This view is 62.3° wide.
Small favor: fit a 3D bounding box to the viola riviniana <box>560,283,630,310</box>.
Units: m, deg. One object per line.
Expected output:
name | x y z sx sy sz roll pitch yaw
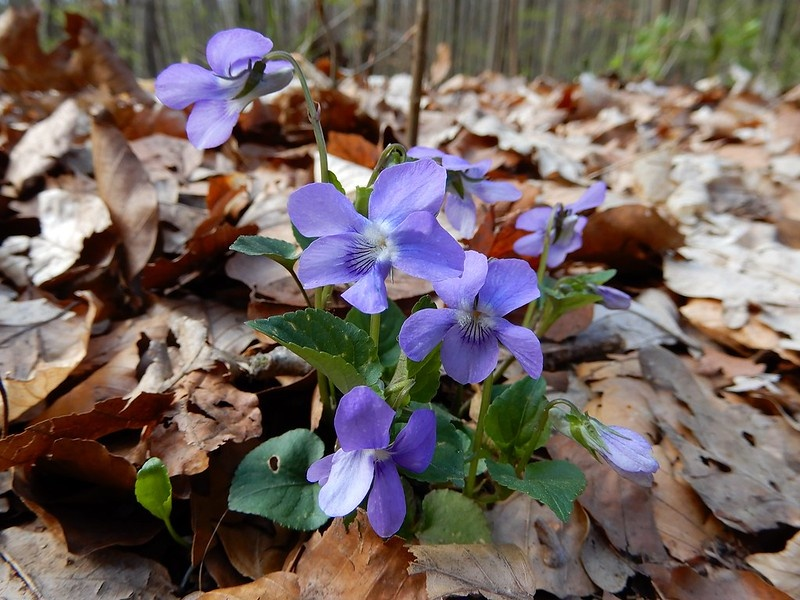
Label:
viola riviniana | 0.663 -0.012 2.158 0.144 0.061 0.100 6 22 43
